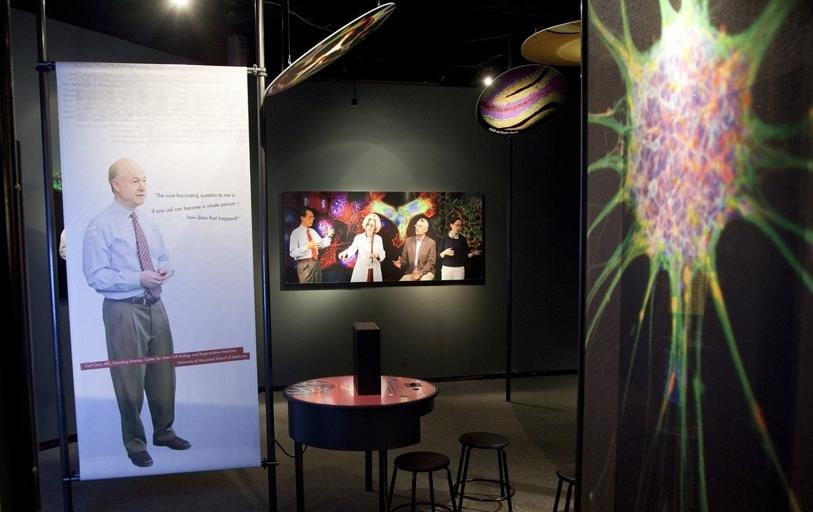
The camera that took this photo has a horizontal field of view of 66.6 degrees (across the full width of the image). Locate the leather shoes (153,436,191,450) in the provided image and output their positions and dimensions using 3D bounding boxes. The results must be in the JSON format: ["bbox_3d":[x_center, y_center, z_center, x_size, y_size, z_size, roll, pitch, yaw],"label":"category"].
[{"bbox_3d":[-1.221,0.984,3.242,0.178,0.081,0.070,4,2,-6],"label":"leather shoes"}]

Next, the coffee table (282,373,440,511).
[{"bbox_3d":[-0.249,0.961,3.519,0.752,0.702,0.817,1,5,3],"label":"coffee table"}]
